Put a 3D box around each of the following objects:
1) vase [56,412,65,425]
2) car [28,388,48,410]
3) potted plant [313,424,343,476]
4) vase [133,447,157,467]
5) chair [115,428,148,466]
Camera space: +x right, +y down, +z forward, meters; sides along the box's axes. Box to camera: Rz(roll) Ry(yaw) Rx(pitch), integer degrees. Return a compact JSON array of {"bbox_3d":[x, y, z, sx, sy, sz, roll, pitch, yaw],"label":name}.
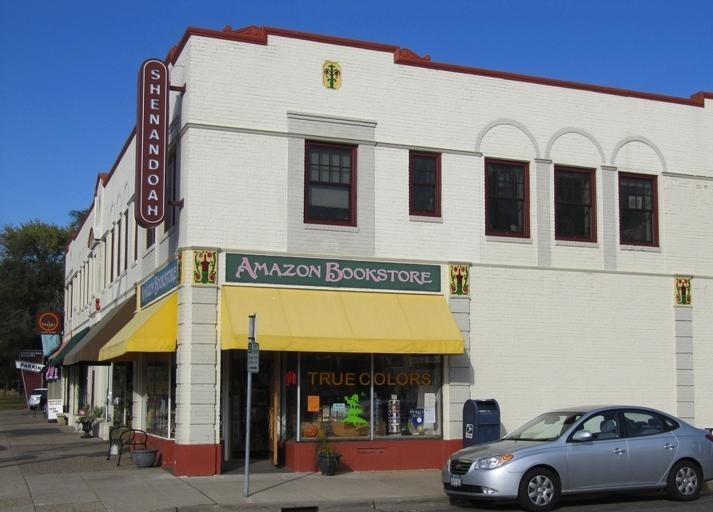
[{"bbox_3d":[-14.881,8.286,52.667,0.463,0.424,0.480,0,-4,9],"label":"vase"},{"bbox_3d":[-21.873,9.831,71.374,1.568,1.405,2.671,0,4,-12],"label":"car"},{"bbox_3d":[-0.756,5.357,28.805,0.707,1.441,0.891,1,-11,-2],"label":"potted plant"},{"bbox_3d":[-6.097,5.819,30.005,0.563,0.416,0.506,2,-7,7],"label":"vase"},{"bbox_3d":[-7.121,5.850,32.114,0.870,1.021,0.825,7,-4,-45],"label":"chair"}]
